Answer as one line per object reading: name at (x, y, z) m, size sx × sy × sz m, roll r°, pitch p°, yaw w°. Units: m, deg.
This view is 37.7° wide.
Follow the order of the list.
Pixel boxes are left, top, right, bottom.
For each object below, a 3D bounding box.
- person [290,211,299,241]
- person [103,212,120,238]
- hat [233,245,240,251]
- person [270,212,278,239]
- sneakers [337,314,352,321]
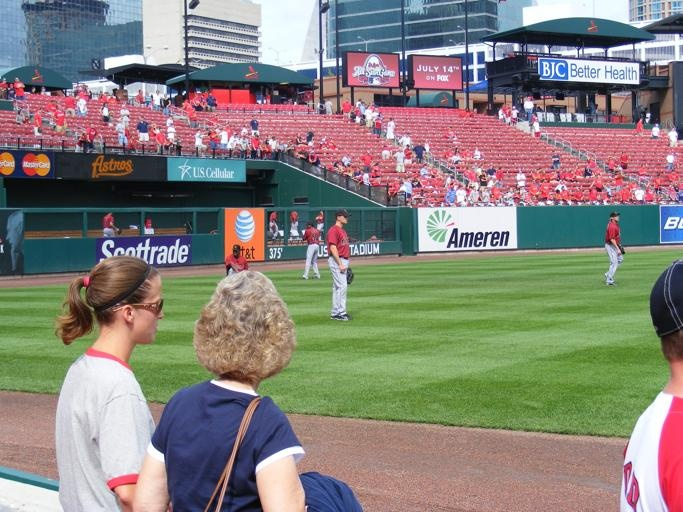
person at (-1.756, -1.099, 37.136) m, size 0.160 × 1.108 × 0.580 m, roll 4°, pitch 10°, yaw 25°
person at (-7.400, -1.008, 31.975) m, size 0.310 × 0.780 × 0.724 m, roll 3°, pitch 9°, yaw 20°
hat at (-2.396, -0.158, 22.515) m, size 0.128 × 0.154 × 0.183 m, roll 7°, pitch 14°, yaw 2°
person at (-2.476, -1.081, 36.119) m, size 0.253 × 0.999 × 0.748 m, roll -7°, pitch 14°, yaw -4°
sneakers at (0.044, 1.185, 19.193) m, size 0.295 × 0.142 × 0.108 m, roll -1°, pitch 2°, yaw -8°
